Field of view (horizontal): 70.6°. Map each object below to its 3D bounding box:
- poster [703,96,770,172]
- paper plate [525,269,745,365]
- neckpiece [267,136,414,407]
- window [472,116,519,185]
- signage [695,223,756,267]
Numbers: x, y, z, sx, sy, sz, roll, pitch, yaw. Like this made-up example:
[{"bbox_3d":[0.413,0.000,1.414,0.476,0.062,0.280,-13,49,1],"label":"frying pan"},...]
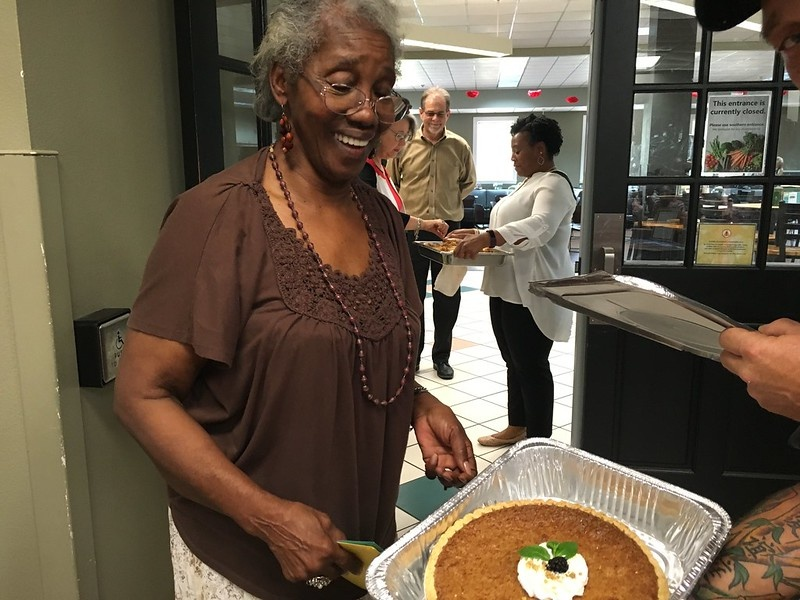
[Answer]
[{"bbox_3d":[1.348,-0.677,2.253,0.272,0.373,0.018,3,8,5],"label":"poster"},{"bbox_3d":[0.499,0.028,1.221,0.432,0.165,0.064,3,11,20],"label":"paper plate"},{"bbox_3d":[-0.177,-0.033,1.331,0.232,0.729,0.051,-8,-20,-38],"label":"neckpiece"},{"bbox_3d":[3.006,-4.704,17.974,1.473,2.590,0.189,0,-22,11],"label":"window"},{"bbox_3d":[1.345,-0.235,2.320,0.173,0.153,0.025,0,8,4],"label":"signage"}]
